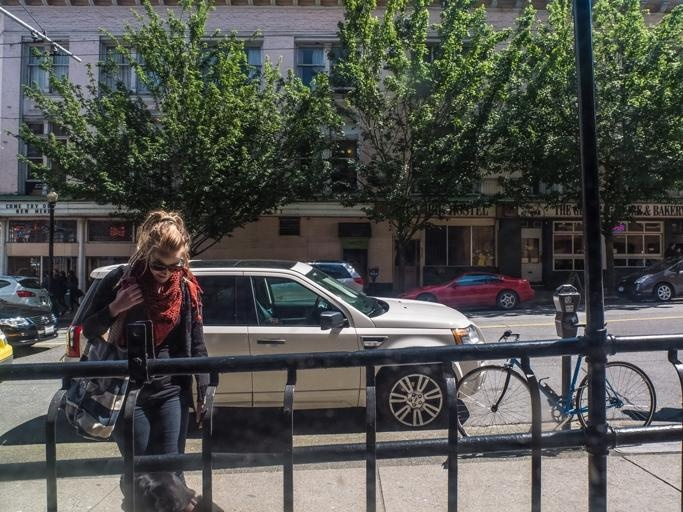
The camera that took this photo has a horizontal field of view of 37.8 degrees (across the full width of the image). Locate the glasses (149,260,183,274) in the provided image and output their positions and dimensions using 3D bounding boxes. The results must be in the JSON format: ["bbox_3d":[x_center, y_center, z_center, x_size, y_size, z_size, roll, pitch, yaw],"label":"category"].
[{"bbox_3d":[-3.431,0.205,19.454,0.649,0.210,0.154,0,1,-17],"label":"glasses"}]

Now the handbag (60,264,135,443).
[{"bbox_3d":[-4.747,2.492,19.252,1.206,2.153,0.608,0,1,-15],"label":"handbag"}]

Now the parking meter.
[{"bbox_3d":[4.735,2.161,21.059,0.522,3.090,0.808,0,1,12],"label":"parking meter"}]

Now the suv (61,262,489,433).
[{"bbox_3d":[-1.246,1.752,23.104,8.814,3.514,3.908,-1,-2,-3],"label":"suv"}]
